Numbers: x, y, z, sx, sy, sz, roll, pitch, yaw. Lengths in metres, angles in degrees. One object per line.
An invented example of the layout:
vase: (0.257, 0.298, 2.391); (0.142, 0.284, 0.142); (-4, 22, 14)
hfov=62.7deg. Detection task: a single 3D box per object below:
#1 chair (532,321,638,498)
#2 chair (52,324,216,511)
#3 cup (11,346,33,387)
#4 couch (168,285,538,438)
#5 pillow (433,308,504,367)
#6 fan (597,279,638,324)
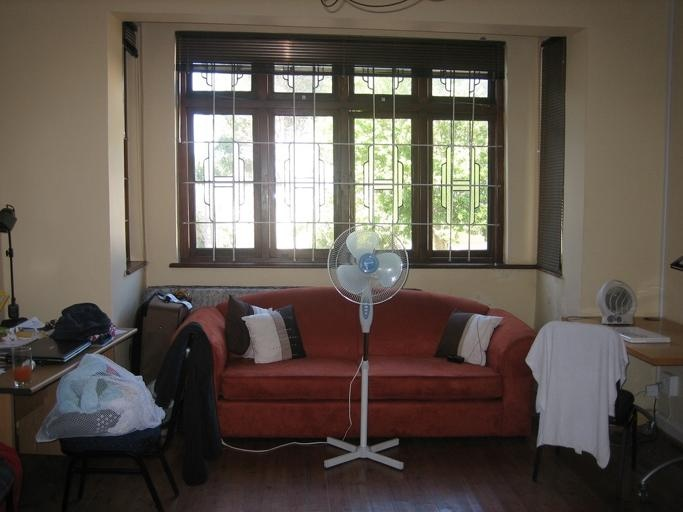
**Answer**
chair: (1.599, 0.952, 3.713); (0.701, 1.075, 0.554); (8, 15, 30)
chair: (-1.159, 0.993, 3.815); (1.098, 1.519, 0.819); (2, -4, -10)
cup: (-1.798, 0.623, 3.133); (0.132, 0.198, 0.139); (-2, -1, 0)
couch: (0.113, 0.892, 4.602); (2.623, 1.170, 1.031); (0, 3, -3)
pillow: (1.014, 0.649, 4.522); (0.120, 0.418, 0.408); (30, -13, -31)
fan: (2.158, 0.362, 4.355); (0.280, 0.389, 0.137); (-1, 2, 2)
